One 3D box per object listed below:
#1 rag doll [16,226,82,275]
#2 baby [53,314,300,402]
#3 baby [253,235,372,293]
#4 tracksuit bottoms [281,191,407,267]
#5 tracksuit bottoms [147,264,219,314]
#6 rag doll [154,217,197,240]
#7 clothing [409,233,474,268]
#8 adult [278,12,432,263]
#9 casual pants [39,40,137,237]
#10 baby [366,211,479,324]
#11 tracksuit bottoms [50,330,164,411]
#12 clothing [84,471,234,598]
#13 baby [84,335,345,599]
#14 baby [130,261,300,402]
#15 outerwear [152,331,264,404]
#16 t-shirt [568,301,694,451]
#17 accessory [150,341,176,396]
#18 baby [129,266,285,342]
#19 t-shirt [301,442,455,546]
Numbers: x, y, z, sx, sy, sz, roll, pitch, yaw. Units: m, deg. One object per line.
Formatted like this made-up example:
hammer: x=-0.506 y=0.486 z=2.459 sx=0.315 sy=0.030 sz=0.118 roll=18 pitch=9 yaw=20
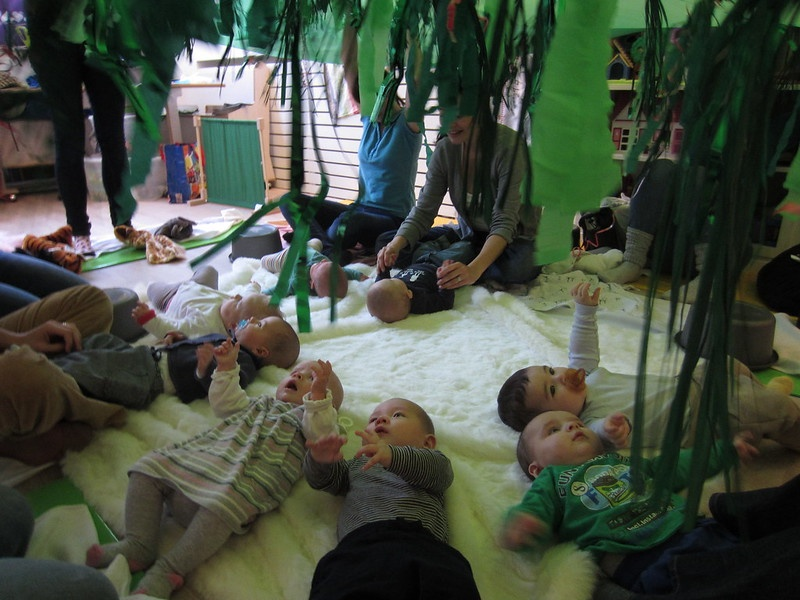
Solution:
rag doll: x=-1.350 y=-0.194 z=2.250 sx=0.228 sy=0.089 sz=0.233 roll=28 pitch=21 yaw=26
baby: x=-0.537 y=0.159 z=1.427 sx=0.432 sy=0.143 sz=0.223 roll=10 pitch=16 yaw=-32
baby: x=-0.234 y=-0.152 z=1.933 sx=0.290 sy=0.124 sz=0.354 roll=-3 pitch=22 yaw=-22
tracksuit bottoms: x=-0.279 y=-0.269 z=2.366 sx=0.443 sy=0.159 sz=0.336 roll=-8 pitch=15 yaw=-42
tracksuit bottoms: x=-0.720 y=-0.034 z=1.930 sx=0.178 sy=0.087 sz=0.147 roll=-16 pitch=1 yaw=22
rag doll: x=-1.097 y=-0.347 z=2.825 sx=0.178 sy=0.102 sz=0.228 roll=-7 pitch=20 yaw=-25
clothing: x=0.163 y=-0.196 z=2.199 sx=0.141 sy=0.075 sz=0.197 roll=0 pitch=10 yaw=27
adult: x=-0.140 y=-0.684 z=2.415 sx=0.542 sy=1.018 sz=0.502 roll=15 pitch=22 yaw=28
casual pants: x=-0.621 y=-0.324 z=1.152 sx=0.169 sy=0.483 sz=0.128 roll=-7 pitch=-22 yaw=-31
baby: x=0.063 y=-0.061 z=2.020 sx=0.302 sy=0.188 sz=0.490 roll=9 pitch=28 yaw=33
tracksuit bottoms: x=-0.675 y=0.144 z=1.447 sx=0.185 sy=0.102 sz=0.238 roll=6 pitch=0 yaw=-16
clothing: x=-0.414 y=0.398 z=0.996 sx=0.217 sy=0.127 sz=0.182 roll=9 pitch=19 yaw=24
baby: x=-0.324 y=0.307 z=1.147 sx=0.246 sy=0.261 sz=0.517 roll=18 pitch=31 yaw=30
baby: x=-0.605 y=0.025 z=1.828 sx=0.445 sy=0.161 sz=0.378 roll=27 pitch=12 yaw=-30
outerwear: x=-0.533 y=0.150 z=1.483 sx=0.161 sy=0.084 sz=0.209 roll=-7 pitch=6 yaw=-20
t-shirt: x=0.418 y=0.179 z=1.110 sx=0.232 sy=0.296 sz=0.168 roll=13 pitch=-25 yaw=20
accessory: x=-0.600 y=0.166 z=1.468 sx=0.039 sy=0.114 sz=0.080 roll=-10 pitch=-1 yaw=40
baby: x=-0.604 y=0.020 z=1.763 sx=0.422 sy=0.183 sz=0.393 roll=8 pitch=19 yaw=12
t-shirt: x=-0.017 y=0.328 z=1.084 sx=0.201 sy=0.194 sz=0.265 roll=-16 pitch=5 yaw=6
